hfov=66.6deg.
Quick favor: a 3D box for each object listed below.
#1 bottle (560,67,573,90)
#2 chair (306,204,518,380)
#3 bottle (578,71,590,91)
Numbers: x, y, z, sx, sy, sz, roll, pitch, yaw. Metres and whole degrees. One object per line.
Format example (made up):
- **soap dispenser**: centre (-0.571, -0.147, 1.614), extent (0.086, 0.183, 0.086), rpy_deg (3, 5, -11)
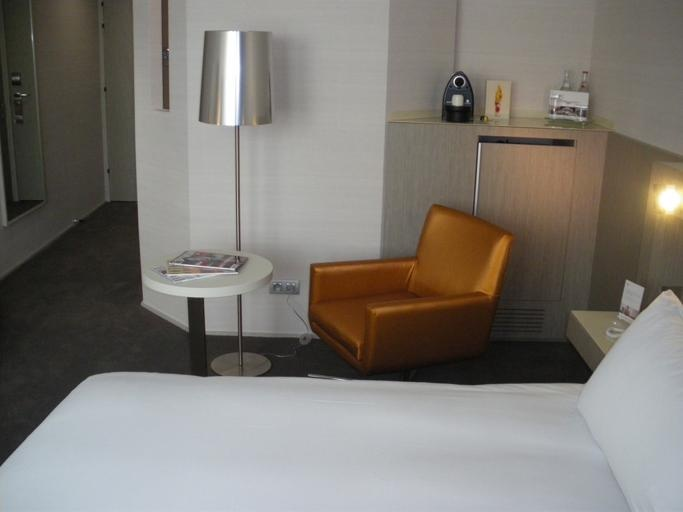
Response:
- **bottle**: centre (1.717, -1.332, 3.930), extent (0.093, 0.144, 0.160), rpy_deg (11, 22, 20)
- **chair**: centre (0.380, 0.250, 3.208), extent (1.085, 0.964, 1.079), rpy_deg (-3, 14, -8)
- **bottle**: centre (1.830, -1.308, 3.888), extent (0.076, 0.148, 0.226), rpy_deg (11, 22, 21)
